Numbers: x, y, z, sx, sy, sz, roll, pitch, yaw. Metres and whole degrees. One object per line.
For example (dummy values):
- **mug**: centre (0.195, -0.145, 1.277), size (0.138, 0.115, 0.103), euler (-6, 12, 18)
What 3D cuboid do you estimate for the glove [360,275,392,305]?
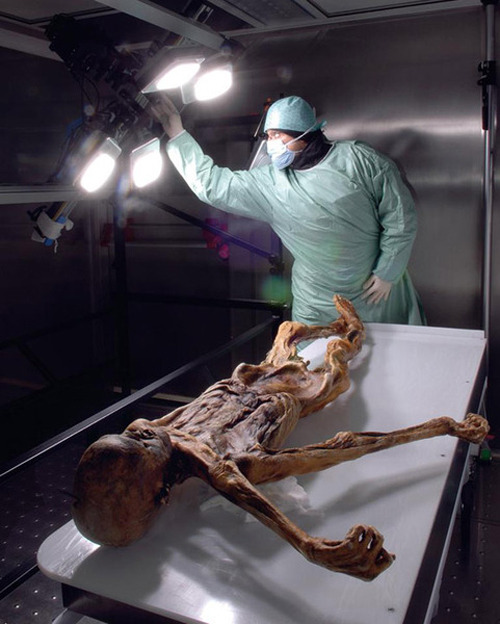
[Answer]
- **glove**: centre (0.479, -0.090, 2.026), size (0.098, 0.041, 0.140), euler (18, -30, 2)

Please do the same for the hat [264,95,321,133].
- **hat**: centre (0.150, -0.726, 1.936), size (0.201, 0.113, 0.124), euler (-4, 28, -3)

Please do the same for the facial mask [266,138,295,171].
- **facial mask**: centre (0.108, -0.585, 1.949), size (0.120, 0.066, 0.099), euler (-11, 9, -32)
